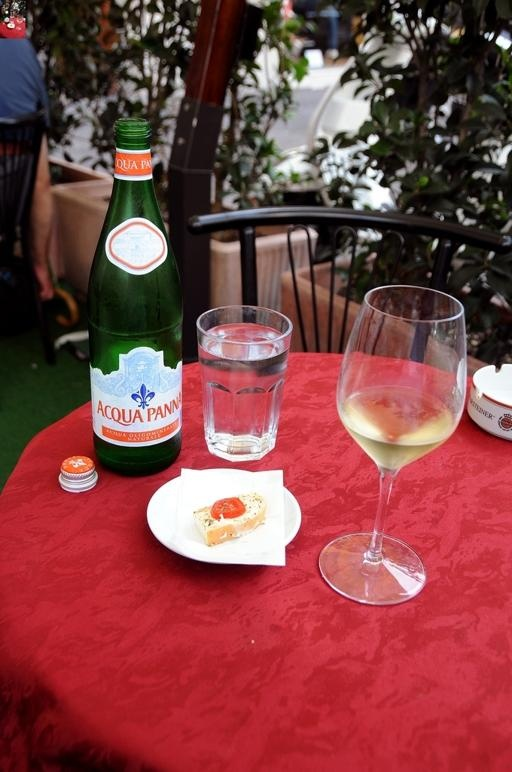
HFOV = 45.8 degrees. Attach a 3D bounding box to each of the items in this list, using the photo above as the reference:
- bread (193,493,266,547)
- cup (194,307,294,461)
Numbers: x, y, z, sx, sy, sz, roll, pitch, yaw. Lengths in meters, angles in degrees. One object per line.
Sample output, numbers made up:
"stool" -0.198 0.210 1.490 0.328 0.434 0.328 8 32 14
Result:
"bread" -0.021 0.107 0.501 0.048 0.015 0.033 -16 34 -29
"cup" -0.006 0.001 0.645 0.082 0.124 0.083 16 4 -1
